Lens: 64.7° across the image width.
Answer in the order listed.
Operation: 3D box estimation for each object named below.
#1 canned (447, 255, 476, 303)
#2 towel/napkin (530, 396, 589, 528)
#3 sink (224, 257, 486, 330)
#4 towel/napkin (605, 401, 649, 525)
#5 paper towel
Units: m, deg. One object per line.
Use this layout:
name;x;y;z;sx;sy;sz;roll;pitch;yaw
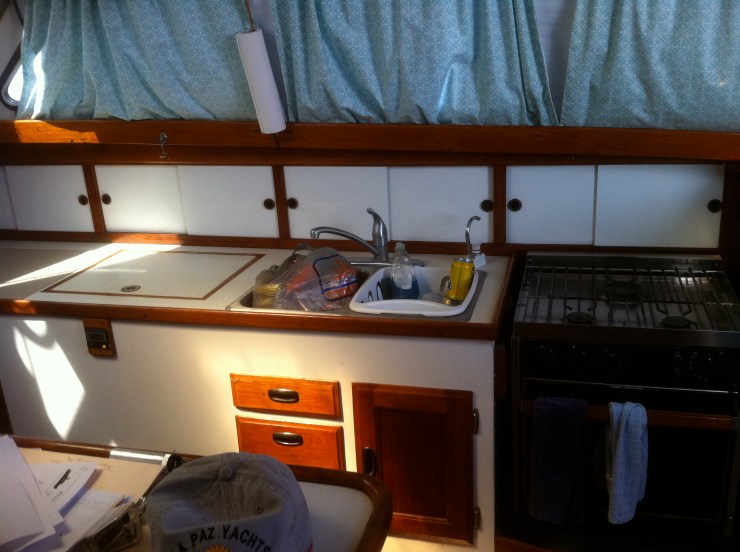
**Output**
canned;0.367;0.019;2.353;0.126;0.195;0.111;9;27;15
towel/napkin;0.675;0.685;2.115;0.216;0.526;0.174;1;5;-9
sink;-0.018;0.058;2.397;0.960;0.198;0.463;3;5;12
towel/napkin;0.896;0.649;2.043;0.128;0.439;0.186;5;5;27
paper towel;-0.466;-0.827;2.500;0.086;0.403;0.228;5;6;36
